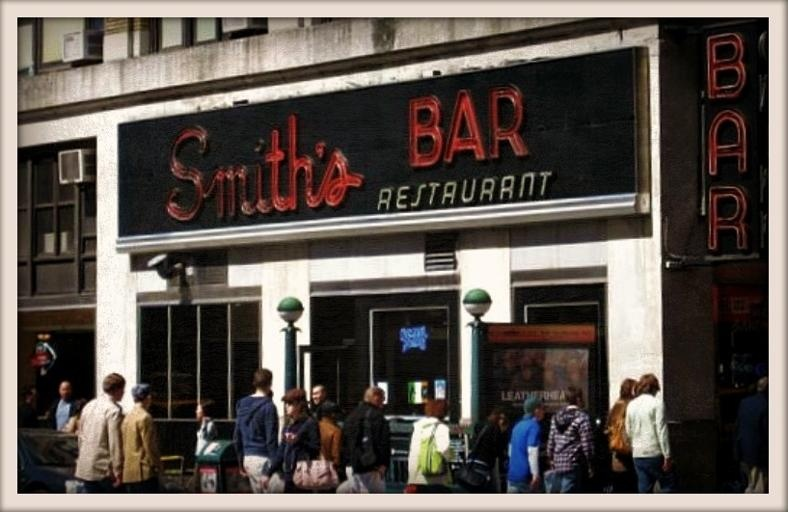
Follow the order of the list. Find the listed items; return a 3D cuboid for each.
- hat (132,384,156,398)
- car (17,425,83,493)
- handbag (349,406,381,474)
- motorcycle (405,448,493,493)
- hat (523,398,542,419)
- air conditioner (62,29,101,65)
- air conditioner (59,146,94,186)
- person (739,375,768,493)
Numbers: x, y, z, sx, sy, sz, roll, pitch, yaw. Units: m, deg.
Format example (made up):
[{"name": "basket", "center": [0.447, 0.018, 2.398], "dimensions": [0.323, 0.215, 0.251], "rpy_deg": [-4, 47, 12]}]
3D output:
[{"name": "hat", "center": [-4.942, 2.655, 31.603], "dimensions": [0.317, 0.309, 0.366], "rpy_deg": [3, -9, -10]}, {"name": "car", "center": [-7.035, 4.376, 34.086], "dimensions": [1.219, 1.362, 2.198], "rpy_deg": [7, -10, -39]}, {"name": "handbag", "center": [-0.536, 3.622, 31.799], "dimensions": [0.841, 0.974, 1.102], "rpy_deg": [-1, -12, 3]}, {"name": "motorcycle", "center": [1.308, 4.370, 32.247], "dimensions": [1.537, 0.577, 1.031], "rpy_deg": [0, -3, -3]}, {"name": "hat", "center": [2.917, 3.043, 32.392], "dimensions": [0.355, 0.435, 0.471], "rpy_deg": [5, 13, 25]}, {"name": "air conditioner", "center": [-7.824, -5.339, 40.742], "dimensions": [0.989, 0.666, 0.522], "rpy_deg": [-3, -9, 30]}, {"name": "air conditioner", "center": [-7.925, -2.298, 40.663], "dimensions": [0.995, 0.813, 0.532], "rpy_deg": [-3, -1, 43]}, {"name": "person", "center": [7.545, 3.752, 33.585], "dimensions": [0.655, 2.371, 0.521], "rpy_deg": [0, -10, 10]}]
